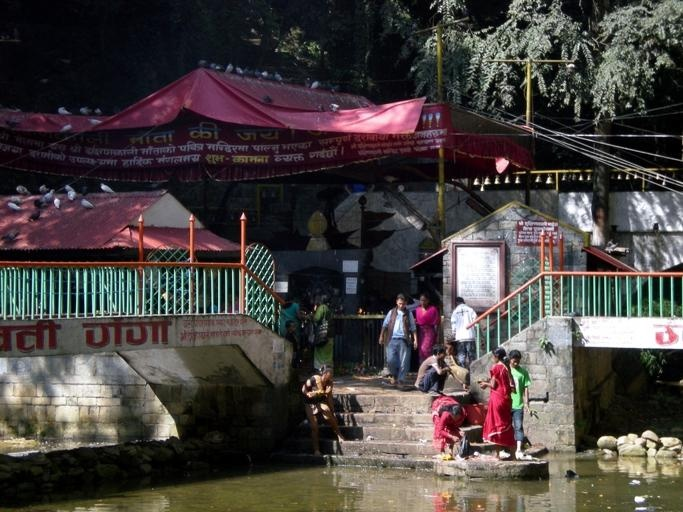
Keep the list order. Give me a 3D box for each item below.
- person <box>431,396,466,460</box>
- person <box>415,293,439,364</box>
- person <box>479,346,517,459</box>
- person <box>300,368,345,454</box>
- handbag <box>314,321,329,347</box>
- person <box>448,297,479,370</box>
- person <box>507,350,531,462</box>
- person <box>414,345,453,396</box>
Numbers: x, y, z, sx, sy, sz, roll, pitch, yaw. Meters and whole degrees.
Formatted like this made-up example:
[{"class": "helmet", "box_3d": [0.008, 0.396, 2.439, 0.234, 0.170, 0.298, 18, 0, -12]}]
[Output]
[{"class": "person", "box_3d": [2.525, 4.052, 36.924, 0.705, 1.428, 0.948, 2, -6, -22]}, {"class": "person", "box_3d": [2.230, 1.808, 39.832, 0.482, 1.929, 0.388, 1, 4, 21]}, {"class": "person", "box_3d": [3.709, 3.514, 36.858, 0.751, 2.571, 0.858, -1, -5, 6]}, {"class": "person", "box_3d": [-0.442, 3.785, 37.946, 0.898, 2.112, 0.433, 0, -5, -3]}, {"class": "handbag", "box_3d": [-0.481, 2.028, 39.811, 0.155, 0.469, 0.418, 17, -27, -12]}, {"class": "person", "box_3d": [3.139, 2.054, 39.214, 0.567, 1.961, 0.563, -4, -2, 10]}, {"class": "person", "box_3d": [4.099, 3.534, 36.872, 0.585, 2.546, 0.687, -3, 4, -34]}, {"class": "person", "box_3d": [2.251, 2.831, 37.955, 0.917, 1.502, 0.810, -3, 9, -4]}]
